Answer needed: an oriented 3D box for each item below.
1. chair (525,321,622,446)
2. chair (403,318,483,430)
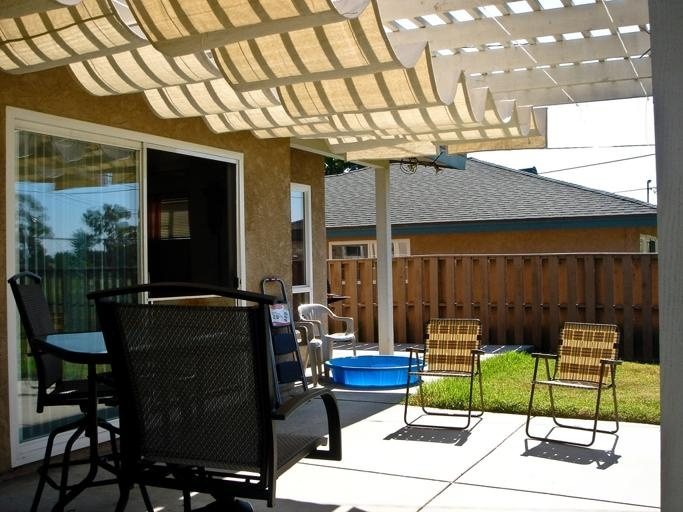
[{"bbox_3d":[2.370,1.282,6.511,0.750,1.128,0.774,5,-4,-44],"label":"chair"},{"bbox_3d":[1.147,1.299,7.073,0.850,1.103,0.871,-2,-4,34],"label":"chair"}]
